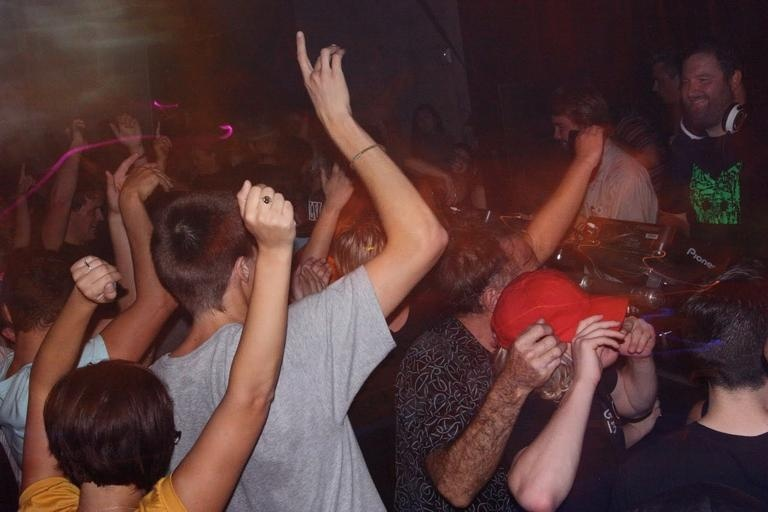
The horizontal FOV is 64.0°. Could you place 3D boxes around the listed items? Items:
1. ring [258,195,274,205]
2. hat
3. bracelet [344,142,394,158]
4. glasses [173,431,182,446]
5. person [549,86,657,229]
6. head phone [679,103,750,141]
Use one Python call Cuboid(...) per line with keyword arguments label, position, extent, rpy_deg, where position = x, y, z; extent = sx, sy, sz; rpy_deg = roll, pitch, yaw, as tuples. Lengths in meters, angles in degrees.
Cuboid(label="ring", position=(-0.466, -0.224, 2.425), extent=(0.042, 0.035, 0.022), rpy_deg=(-12, 21, -9))
Cuboid(label="hat", position=(0.855, 0.241, 3.040), extent=(0.565, 0.236, 0.369), rpy_deg=(-10, 21, 17))
Cuboid(label="bracelet", position=(-0.062, -0.458, 2.647), extent=(0.179, 0.059, 0.069), rpy_deg=(-20, 23, -29))
Cuboid(label="glasses", position=(-0.910, 0.813, 2.730), extent=(0.045, 0.057, 0.049), rpy_deg=(2, 5, -7))
Cuboid(label="person", position=(1.669, -0.789, 4.702), extent=(0.708, 1.102, 1.131), rpy_deg=(-11, 17, 0))
Cuboid(label="head phone", position=(2.526, -1.030, 4.654), extent=(0.479, 0.172, 0.470), rpy_deg=(-16, -1, 23))
